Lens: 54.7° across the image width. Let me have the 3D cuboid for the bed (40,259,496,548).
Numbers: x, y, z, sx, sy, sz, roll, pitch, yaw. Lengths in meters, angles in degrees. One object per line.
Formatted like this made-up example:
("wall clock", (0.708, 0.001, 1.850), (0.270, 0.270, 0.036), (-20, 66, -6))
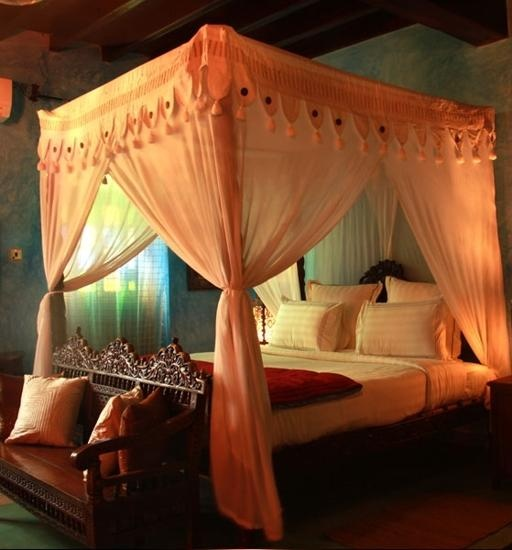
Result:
("bed", (0.483, 0.628, 3.089), (1.640, 1.067, 1.610), (4, -5, -40))
